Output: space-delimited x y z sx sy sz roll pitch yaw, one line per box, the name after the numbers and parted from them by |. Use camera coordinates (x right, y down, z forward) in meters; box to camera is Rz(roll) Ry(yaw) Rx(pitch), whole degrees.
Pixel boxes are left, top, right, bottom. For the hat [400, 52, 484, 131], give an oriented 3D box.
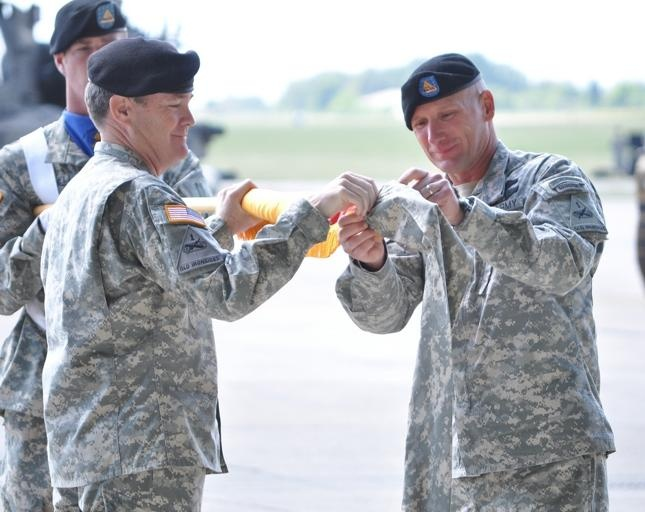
0.653 -0.891 8.818 0.506 0.261 0.387 -12 -20 -4 | hat

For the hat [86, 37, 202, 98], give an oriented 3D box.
-0.959 -1.003 8.366 0.673 0.256 0.445 7 12 -3 | hat
